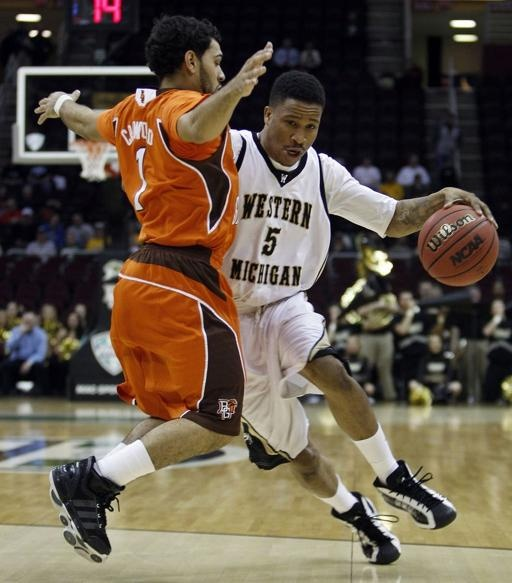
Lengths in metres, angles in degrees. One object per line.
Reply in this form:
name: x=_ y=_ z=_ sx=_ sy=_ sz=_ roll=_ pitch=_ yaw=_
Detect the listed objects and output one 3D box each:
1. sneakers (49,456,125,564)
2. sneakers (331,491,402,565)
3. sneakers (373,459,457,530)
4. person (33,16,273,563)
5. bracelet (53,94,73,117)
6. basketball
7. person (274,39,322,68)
sneakers: x=-0.461 y=0.613 z=1.887 sx=0.194 sy=0.295 sz=0.147 roll=-3 pitch=14 yaw=-15
sneakers: x=0.396 y=0.829 z=2.392 sx=0.113 sy=0.122 sz=0.271 roll=34 pitch=4 yaw=-25
sneakers: x=0.541 y=0.698 z=2.329 sx=0.169 sy=0.143 sz=0.363 roll=-26 pitch=11 yaw=-20
person: x=-0.261 y=-0.049 z=2.018 sx=0.592 sy=1.530 sz=0.711 roll=1 pitch=13 yaw=1
bracelet: x=-0.711 y=-0.676 z=2.470 sx=0.041 sy=0.079 sz=0.071 roll=19 pitch=23 yaw=20
basketball: x=0.736 y=-0.185 z=2.470 sx=0.299 sy=0.288 sz=0.297 roll=11 pitch=23 yaw=33
person: x=1.103 y=-6.456 z=18.554 sx=1.274 sy=0.798 sz=1.075 roll=1 pitch=12 yaw=0
